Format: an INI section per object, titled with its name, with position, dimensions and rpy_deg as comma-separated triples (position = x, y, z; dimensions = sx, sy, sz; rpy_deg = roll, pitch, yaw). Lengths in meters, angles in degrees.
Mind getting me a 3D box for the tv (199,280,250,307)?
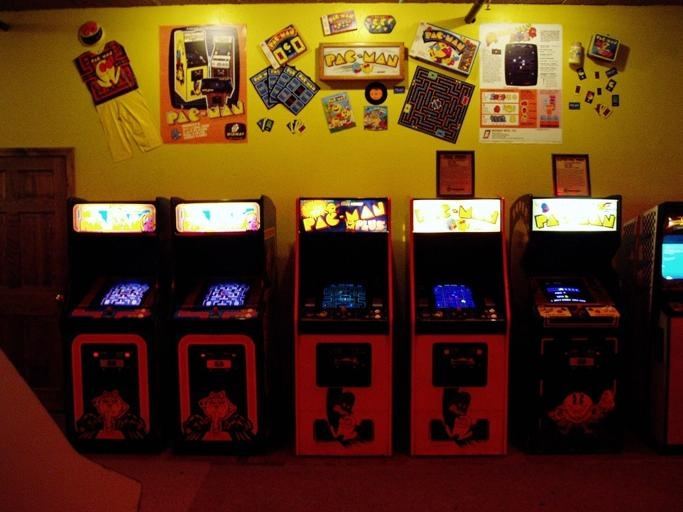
[tv]
position = -1.025, 0.340, 5.179
dimensions = 0.399, 0.129, 0.275
rpy_deg = 0, 20, 1
